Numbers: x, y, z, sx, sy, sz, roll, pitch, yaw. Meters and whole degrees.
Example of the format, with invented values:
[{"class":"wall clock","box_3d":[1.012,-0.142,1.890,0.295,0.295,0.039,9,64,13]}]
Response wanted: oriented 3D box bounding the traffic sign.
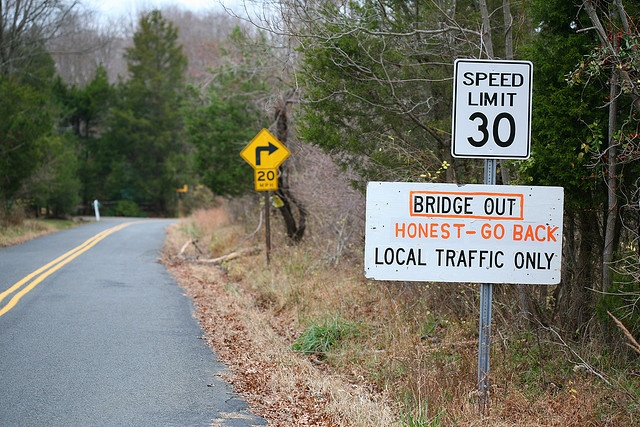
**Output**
[{"class":"traffic sign","box_3d":[2.499,-1.507,10.036,1.202,1.670,0.161,2,-4,-7]}]
